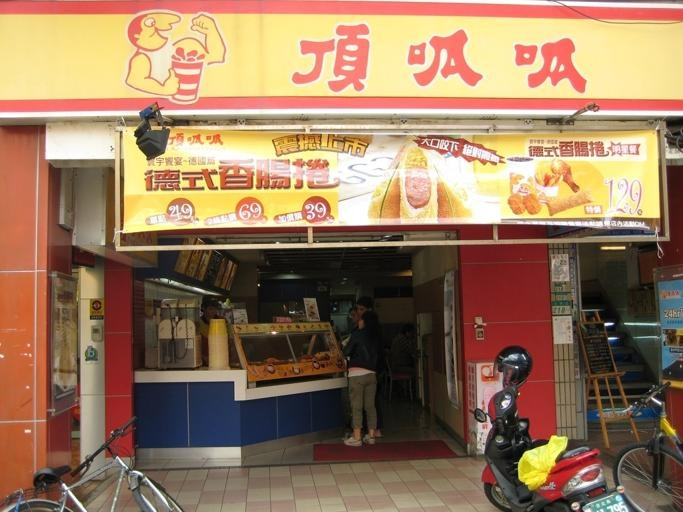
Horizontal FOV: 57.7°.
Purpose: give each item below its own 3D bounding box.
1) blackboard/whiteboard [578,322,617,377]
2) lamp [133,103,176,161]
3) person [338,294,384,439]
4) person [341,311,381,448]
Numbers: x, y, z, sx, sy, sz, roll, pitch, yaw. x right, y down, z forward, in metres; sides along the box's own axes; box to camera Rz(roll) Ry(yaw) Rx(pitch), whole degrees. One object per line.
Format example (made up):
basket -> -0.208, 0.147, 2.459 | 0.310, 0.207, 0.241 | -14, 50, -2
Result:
blackboard/whiteboard -> 3.543, 1.308, 8.587 | 0.463, 0.734, 0.195 | -4, -15, -6
lamp -> -1.733, -1.131, 5.667 | 0.316, 0.484, 0.369 | -1, -1, -18
person -> 0.260, 1.663, 8.723 | 0.510, 1.935, 0.465 | 7, -10, -34
person -> 0.234, 1.701, 8.752 | 0.534, 1.903, 0.541 | 9, -11, -40
